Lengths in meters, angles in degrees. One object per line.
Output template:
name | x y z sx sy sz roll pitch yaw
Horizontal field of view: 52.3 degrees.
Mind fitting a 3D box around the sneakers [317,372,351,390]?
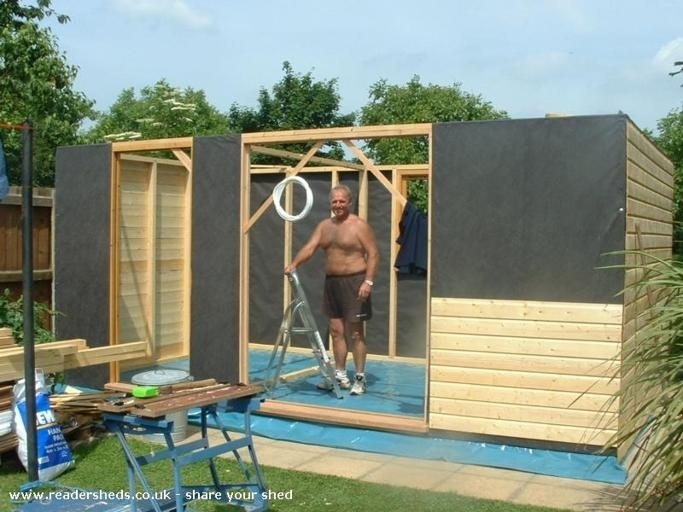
sneakers | -0.044 1.428 7.892 0.514 0.205 0.166 0 -5 10

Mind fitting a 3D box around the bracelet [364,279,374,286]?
bracelet | 0.294 0.290 7.445 0.072 0.029 0.093 0 12 -7

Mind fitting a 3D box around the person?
person | -0.018 0.385 7.707 0.864 2.305 0.559 3 8 15

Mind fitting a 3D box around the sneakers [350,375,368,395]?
sneakers | 0.198 1.412 7.754 0.188 0.224 0.356 1 7 2
